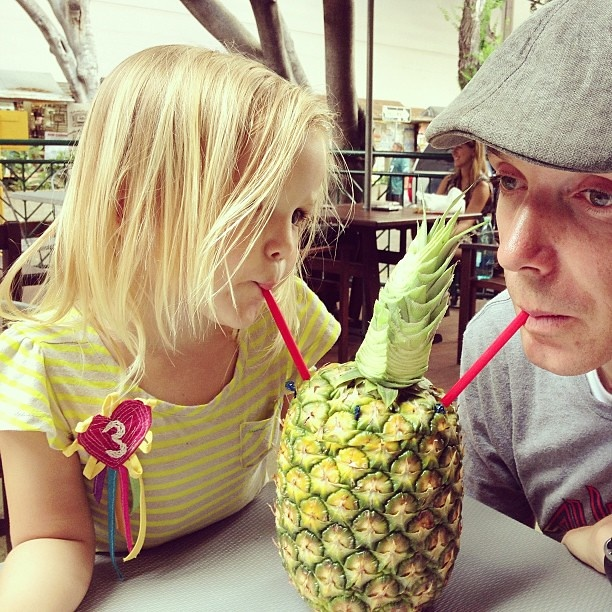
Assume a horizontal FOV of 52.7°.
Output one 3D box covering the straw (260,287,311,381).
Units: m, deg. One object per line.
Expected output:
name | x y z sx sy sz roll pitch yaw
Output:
straw | -0.041 0.056 1.094 0.028 0.199 0.027 -28 -19 -7
